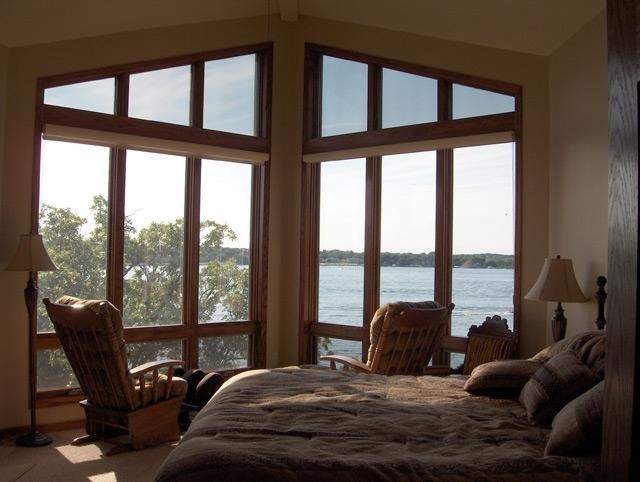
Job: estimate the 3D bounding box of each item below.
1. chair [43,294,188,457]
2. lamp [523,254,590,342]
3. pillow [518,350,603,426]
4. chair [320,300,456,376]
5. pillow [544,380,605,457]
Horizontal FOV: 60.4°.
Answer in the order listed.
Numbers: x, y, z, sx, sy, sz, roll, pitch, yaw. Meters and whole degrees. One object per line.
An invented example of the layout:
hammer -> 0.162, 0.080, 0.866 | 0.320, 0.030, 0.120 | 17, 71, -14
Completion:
chair -> -1.593, 1.072, 4.514 | 0.793, 1.199, 1.004 | -2, -3, 16
lamp -> 1.936, 0.463, 4.364 | 0.501, 0.690, 0.398 | -2, 6, -35
pillow -> 1.273, 0.746, 3.086 | 0.337, 0.103, 0.341 | 22, 59, 36
chair -> 0.533, 0.782, 4.630 | 0.585, 0.829, 0.918 | 5, -1, -32
pillow -> 1.243, 0.870, 2.673 | 0.233, 0.301, 0.327 | 4, 5, 29
